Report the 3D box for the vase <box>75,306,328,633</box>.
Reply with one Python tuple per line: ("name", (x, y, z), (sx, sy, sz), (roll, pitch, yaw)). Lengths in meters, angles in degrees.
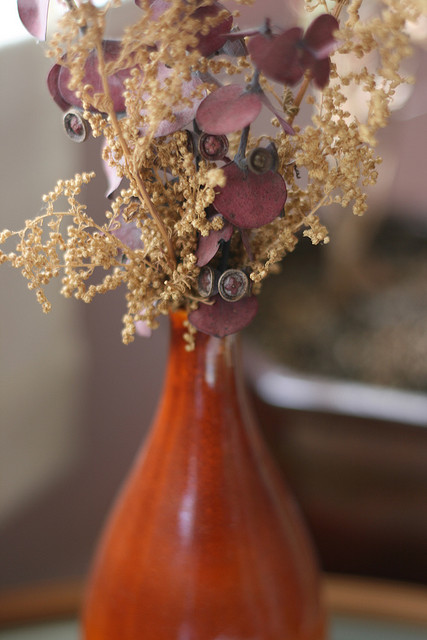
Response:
("vase", (-0.011, 0.146, 0.593), (0.229, 0.312, 0.153), (2, 11, 8))
